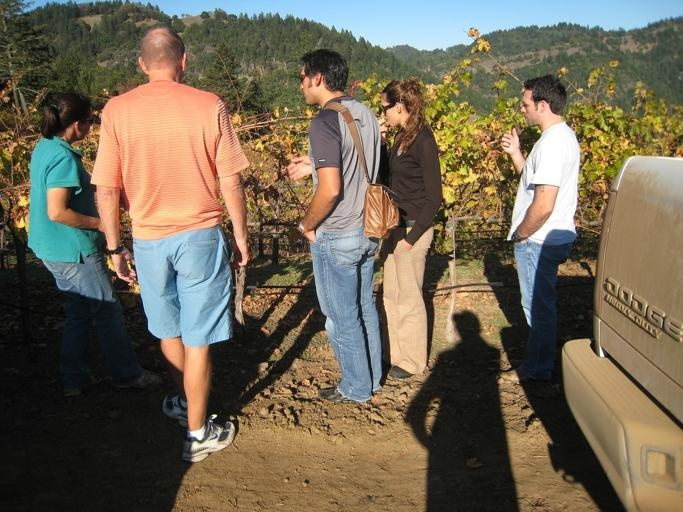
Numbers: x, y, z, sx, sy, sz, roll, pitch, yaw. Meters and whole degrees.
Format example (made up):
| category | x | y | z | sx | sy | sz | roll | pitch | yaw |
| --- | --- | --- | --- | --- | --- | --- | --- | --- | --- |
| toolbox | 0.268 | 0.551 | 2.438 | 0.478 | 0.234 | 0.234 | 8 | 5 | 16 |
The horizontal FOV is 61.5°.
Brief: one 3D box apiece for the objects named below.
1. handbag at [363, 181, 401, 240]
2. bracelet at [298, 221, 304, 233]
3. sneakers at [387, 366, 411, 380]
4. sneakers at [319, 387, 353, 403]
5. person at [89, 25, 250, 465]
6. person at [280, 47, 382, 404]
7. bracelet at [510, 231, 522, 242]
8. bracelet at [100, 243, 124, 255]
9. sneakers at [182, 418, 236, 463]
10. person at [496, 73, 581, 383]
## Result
| category | x | y | z | sx | sy | sz | roll | pitch | yaw |
| --- | --- | --- | --- | --- | --- | --- | --- | --- | --- |
| handbag | 0.323 | -0.369 | 4.618 | 0.250 | 0.437 | 0.482 | 3 | 7 | 12 |
| bracelet | -0.312 | -0.226 | 4.546 | 0.026 | 0.072 | 0.059 | 4 | 17 | -8 |
| sneakers | 0.527 | 1.071 | 5.232 | 0.172 | 0.064 | 0.103 | 23 | 46 | 3 |
| sneakers | -0.031 | 1.170 | 4.953 | 0.283 | 0.130 | 0.116 | 10 | -2 | 7 |
| person | -1.182 | -0.088 | 4.235 | 0.943 | 3.030 | 0.826 | 3 | 12 | 4 |
| person | 0.035 | -0.150 | 4.578 | 0.707 | 2.851 | 0.525 | -1 | 14 | -11 |
| bracelet | 1.483 | -0.168 | 4.881 | 0.040 | 0.054 | 0.123 | -9 | 18 | 18 |
| bracelet | -1.803 | -0.059 | 4.549 | 0.090 | 0.069 | 0.102 | -5 | 17 | 33 |
| sneakers | -0.964 | 1.322 | 4.271 | 0.165 | 0.233 | 0.444 | 13 | 22 | 32 |
| person | 1.663 | -0.166 | 4.849 | 0.529 | 2.615 | 0.477 | 10 | 17 | 32 |
